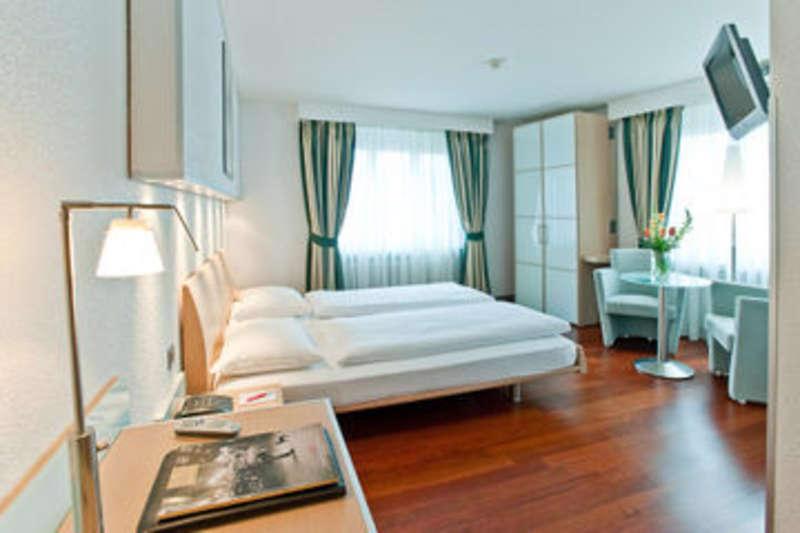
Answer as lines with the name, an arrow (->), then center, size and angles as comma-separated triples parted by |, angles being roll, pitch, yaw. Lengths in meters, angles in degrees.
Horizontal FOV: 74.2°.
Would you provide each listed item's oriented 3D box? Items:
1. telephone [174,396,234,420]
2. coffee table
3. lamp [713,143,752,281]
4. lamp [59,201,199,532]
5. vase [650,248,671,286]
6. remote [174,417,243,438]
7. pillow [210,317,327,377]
telephone -> -0.934, 0.669, 2.558 | 0.154, 0.035, 0.149 | 0, 5, -15
coffee table -> 2.045, 0.500, 4.685 | 0.809, 0.918, 0.871 | 1, -1, 0
lamp -> 3.061, -0.527, 4.874 | 0.242, 1.320, 0.395 | -2, 7, 32
lamp -> -0.943, 0.318, 1.918 | 0.471, 0.760, 0.520 | -8, 6, -22
vase -> 2.161, -0.013, 4.399 | 0.129, 0.253, 0.142 | -3, 6, 24
remote -> -0.817, 0.687, 2.266 | 0.198, 0.038, 0.105 | 2, 1, -5
pillow -> -0.914, 0.527, 3.560 | 0.675, 0.277, 0.597 | -8, 5, -20
